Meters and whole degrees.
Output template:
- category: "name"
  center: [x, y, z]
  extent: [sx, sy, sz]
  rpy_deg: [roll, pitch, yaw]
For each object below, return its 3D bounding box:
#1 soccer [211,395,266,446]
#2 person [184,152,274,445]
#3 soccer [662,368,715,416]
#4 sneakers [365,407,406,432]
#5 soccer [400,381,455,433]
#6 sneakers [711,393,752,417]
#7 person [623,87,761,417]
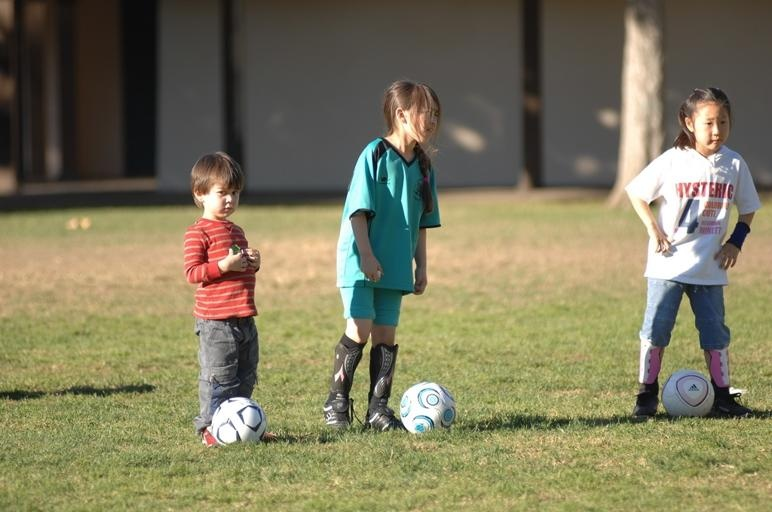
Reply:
- category: "soccer"
  center: [-1.393, 1.574, 11.875]
  extent: [0.462, 0.484, 0.452]
  rpy_deg: [-2, 1, 2]
- category: "person"
  center: [-1.574, 0.408, 11.944]
  extent: [0.711, 2.828, 0.383]
  rpy_deg: [-1, 2, -11]
- category: "soccer"
  center: [2.999, 1.382, 12.149]
  extent: [0.449, 0.468, 0.459]
  rpy_deg: [-2, -14, 18]
- category: "sneakers"
  center: [0.008, 1.601, 12.081]
  extent: [0.343, 0.160, 0.211]
  rpy_deg: [-1, 1, 40]
- category: "soccer"
  center: [0.427, 1.482, 12.055]
  extent: [0.543, 0.484, 0.204]
  rpy_deg: [-1, 2, 0]
- category: "sneakers"
  center: [3.499, 1.486, 12.189]
  extent: [0.494, 0.217, 0.175]
  rpy_deg: [1, 0, 9]
- category: "person"
  center: [3.056, -0.041, 12.245]
  extent: [1.222, 3.260, 0.498]
  rpy_deg: [-1, 2, 10]
